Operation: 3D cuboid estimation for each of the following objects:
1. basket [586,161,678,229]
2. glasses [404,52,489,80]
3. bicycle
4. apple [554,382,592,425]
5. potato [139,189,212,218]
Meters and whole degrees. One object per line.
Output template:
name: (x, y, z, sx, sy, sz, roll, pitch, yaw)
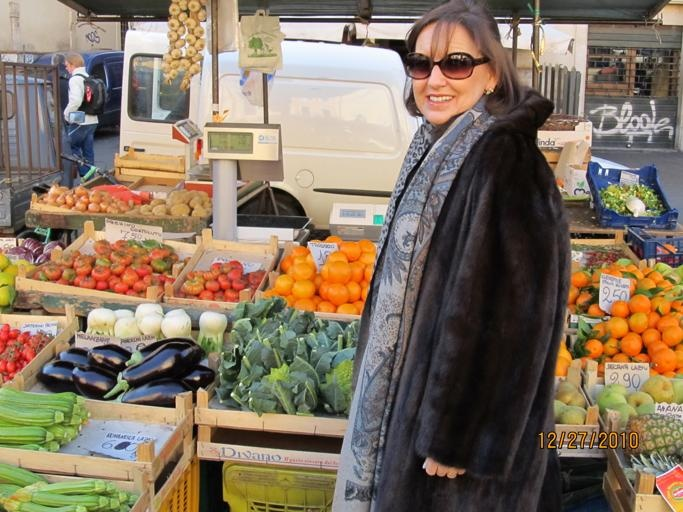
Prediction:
basket: (2.935, -0.622, 5.686, 0.752, 0.292, 0.976, 3, 40, 4)
glasses: (0.337, -0.639, 1.865, 0.242, 0.123, 0.108, 14, 24, 28)
bicycle: (-3.243, -0.695, 6.459, 0.793, 0.422, 1.421, 0, 19, -6)
apple: (1.287, 0.826, 3.105, 0.201, 0.142, 0.269, 0, 8, 21)
potato: (-1.723, -0.545, 5.834, 0.800, 0.247, 0.589, 2, 9, 1)
